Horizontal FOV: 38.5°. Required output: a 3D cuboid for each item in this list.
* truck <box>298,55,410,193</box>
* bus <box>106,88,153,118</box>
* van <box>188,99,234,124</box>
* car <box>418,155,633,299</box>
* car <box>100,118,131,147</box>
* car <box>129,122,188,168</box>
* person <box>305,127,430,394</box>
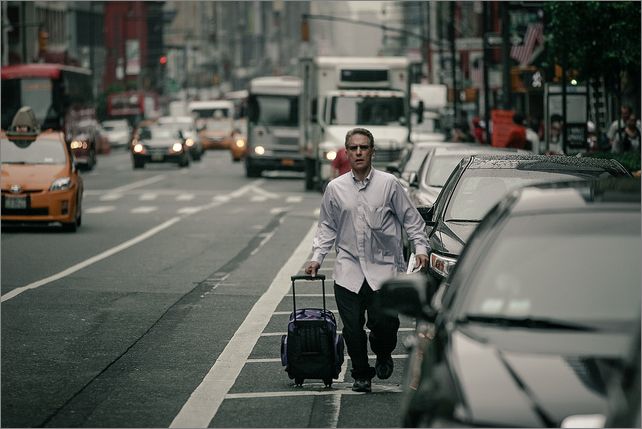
[{"bbox_3d":[1.108,-2.715,29.797,3.066,4.200,7.296,0,1,-2],"label":"truck"},{"bbox_3d":[-16.202,-9.691,79.744,2.184,2.019,3.141,0,-1,1],"label":"bus"},{"bbox_3d":[-9.425,-9.127,79.856,3.405,1.927,2.703,-1,0,2],"label":"van"},{"bbox_3d":[1.470,0.083,6.778,1.164,0.991,2.155,-1,-1,4],"label":"car"},{"bbox_3d":[-15.111,-6.062,68.209,1.527,1.517,2.924,-1,0,-3],"label":"car"},{"bbox_3d":[-7.855,-2.886,44.246,2.400,1.854,4.142,-1,-7,-13],"label":"car"},{"bbox_3d":[0.381,0.379,7.889,0.969,2.280,0.704,-1,6,5],"label":"person"}]
